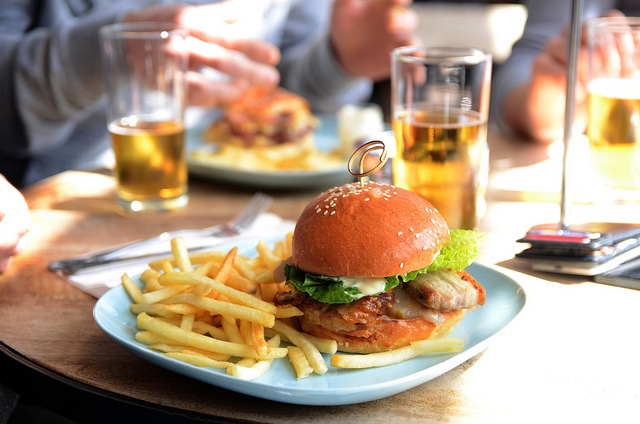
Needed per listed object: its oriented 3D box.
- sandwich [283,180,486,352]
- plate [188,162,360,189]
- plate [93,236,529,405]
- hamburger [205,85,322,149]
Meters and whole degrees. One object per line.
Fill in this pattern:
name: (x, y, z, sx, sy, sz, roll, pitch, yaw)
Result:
sandwich: (0.201, 0.156, 1.596, 0.656, 0.349, 0.543, -5, 19, -3)
plate: (-0.306, -0.171, 2.769, 1.045, 0.098, 0.961, 7, 6, 3)
plate: (-0.044, 0.278, 1.744, 1.368, 0.150, 1.208, -8, 13, -12)
hamburger: (-0.328, -0.563, 2.992, 0.798, 0.432, 0.266, -2, 14, 4)
